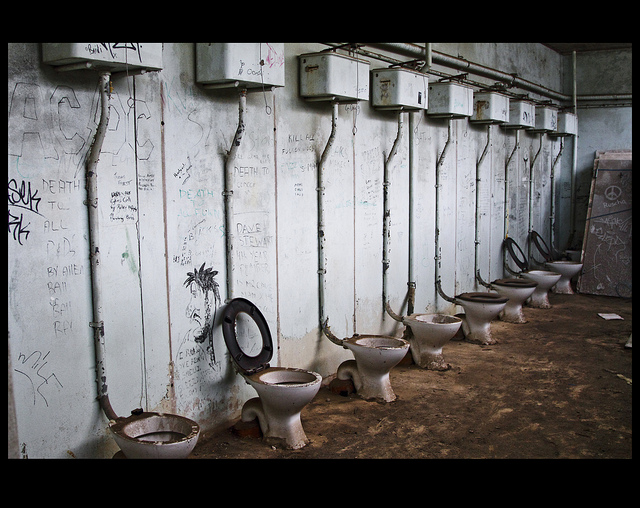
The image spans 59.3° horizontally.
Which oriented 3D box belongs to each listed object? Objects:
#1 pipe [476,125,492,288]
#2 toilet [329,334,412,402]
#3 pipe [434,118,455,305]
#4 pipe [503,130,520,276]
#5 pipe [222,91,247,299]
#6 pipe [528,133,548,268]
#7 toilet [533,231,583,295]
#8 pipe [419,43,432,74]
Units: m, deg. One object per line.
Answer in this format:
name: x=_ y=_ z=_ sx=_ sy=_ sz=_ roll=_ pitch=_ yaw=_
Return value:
pipe: x=2.198 y=-0.625 z=7.493 sx=0.231 sy=2.112 sz=0.490 roll=3 pitch=13 yaw=16
toilet: x=0.441 y=0.964 z=4.911 sx=0.660 sy=0.491 sz=0.450 roll=-2 pitch=1 yaw=33
pipe: x=1.487 y=-0.525 z=6.669 sx=0.245 sy=2.080 sz=0.656 roll=2 pitch=12 yaw=11
pipe: x=2.912 y=-0.724 z=8.435 sx=0.249 sy=2.195 sz=0.546 roll=5 pitch=14 yaw=25
pipe: x=-0.602 y=-0.408 z=4.059 sx=0.217 sy=1.461 sz=0.147 roll=-6 pitch=13 yaw=-22
pipe: x=3.566 y=-0.888 z=9.171 sx=0.315 sy=2.093 sz=0.780 roll=3 pitch=13 yaw=17
toilet: x=3.998 y=0.222 z=9.377 sx=1.035 sy=1.242 sz=0.678 roll=1 pitch=5 yaw=26
pipe: x=1.093 y=-1.988 z=5.758 sx=0.087 sy=0.317 sz=0.276 roll=3 pitch=13 yaw=18
